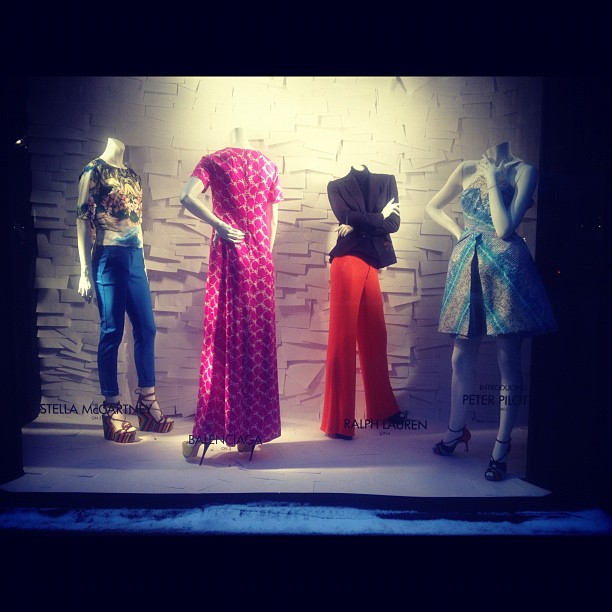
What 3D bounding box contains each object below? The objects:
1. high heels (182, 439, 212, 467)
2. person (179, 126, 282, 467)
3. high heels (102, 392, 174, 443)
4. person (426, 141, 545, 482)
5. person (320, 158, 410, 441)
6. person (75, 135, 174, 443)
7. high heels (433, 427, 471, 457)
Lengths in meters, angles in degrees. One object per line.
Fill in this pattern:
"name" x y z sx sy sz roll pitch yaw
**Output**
"high heels" -0.482 0.662 3.015 0.124 0.127 0.089 9 -4 6
"person" -0.339 -0.056 2.985 0.453 1.487 0.223 1 5 -11
"high heels" -0.798 0.532 3.099 0.269 0.173 0.215 1 -3 -39
"person" 0.806 -0.024 2.962 0.571 1.409 0.181 3 5 16
"person" 0.284 -0.020 3.153 0.394 1.278 0.203 2 4 1
"person" -0.841 -0.080 3.089 0.425 1.394 0.245 0 5 -21
"high heels" 0.666 0.633 3.056 0.167 0.127 0.095 0 -3 5
